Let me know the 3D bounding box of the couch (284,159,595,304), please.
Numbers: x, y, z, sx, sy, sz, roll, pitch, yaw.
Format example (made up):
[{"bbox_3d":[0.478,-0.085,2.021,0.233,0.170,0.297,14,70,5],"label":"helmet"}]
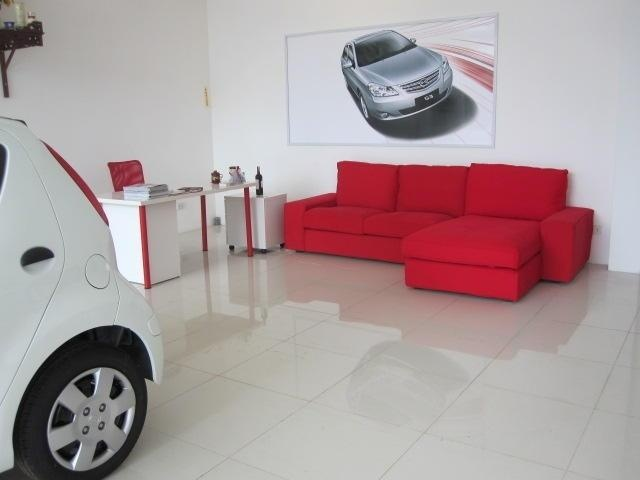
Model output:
[{"bbox_3d":[1.305,-0.236,5.112,3.059,1.202,1.850,7,19,35],"label":"couch"}]

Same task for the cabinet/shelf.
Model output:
[{"bbox_3d":[-0.866,-0.413,6.212,0.908,1.021,0.688,4,11,27],"label":"cabinet/shelf"}]
